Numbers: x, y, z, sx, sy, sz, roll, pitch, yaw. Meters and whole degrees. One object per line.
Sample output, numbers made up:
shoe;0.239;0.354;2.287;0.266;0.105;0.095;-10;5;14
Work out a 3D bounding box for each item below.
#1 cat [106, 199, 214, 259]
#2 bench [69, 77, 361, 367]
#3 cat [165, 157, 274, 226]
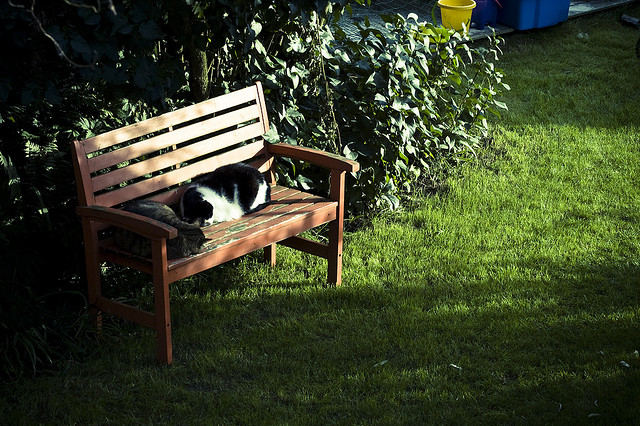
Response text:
cat;-1.145;0.158;3.963;0.631;0.364;0.306;13;11;-21
bench;-0.890;0.102;4.328;0.775;1.251;1.776;20;32;33
cat;-0.732;-0.164;4.477;0.460;0.274;0.749;16;43;44
